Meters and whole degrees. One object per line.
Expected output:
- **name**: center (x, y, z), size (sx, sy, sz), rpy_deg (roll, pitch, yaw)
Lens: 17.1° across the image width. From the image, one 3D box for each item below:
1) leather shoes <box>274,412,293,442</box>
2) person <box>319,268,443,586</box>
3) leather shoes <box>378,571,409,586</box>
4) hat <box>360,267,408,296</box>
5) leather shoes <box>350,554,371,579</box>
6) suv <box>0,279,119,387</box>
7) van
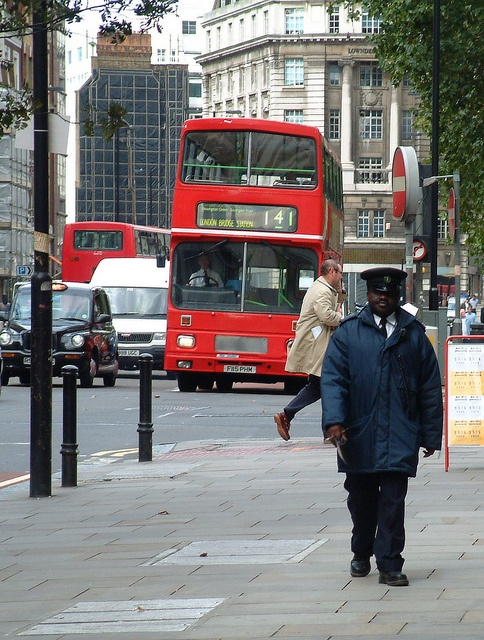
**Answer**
- **leather shoes**: center (0.377, 0.959, 14.076), size (0.132, 0.304, 0.096), rpy_deg (-21, 19, -15)
- **person**: center (0.710, 0.525, 8.083), size (0.604, 1.568, 0.460), rpy_deg (-1, 2, 6)
- **leather shoes**: center (0.753, 1.281, 7.948), size (0.056, 0.072, 0.154), rpy_deg (2, -8, -34)
- **hat**: center (0.714, -0.195, 8.103), size (0.224, 0.136, 0.288), rpy_deg (-1, 2, 8)
- **leather shoes**: center (0.600, 1.264, 8.157), size (0.049, 0.066, 0.154), rpy_deg (2, 8, 9)
- **suv**: center (-2.767, 0.231, 24.141), size (1.323, 1.434, 2.604), rpy_deg (0, -2, 5)
- **van**: center (-1.995, -0.102, 30.245), size (1.418, 1.893, 3.447), rpy_deg (1, 5, -2)
